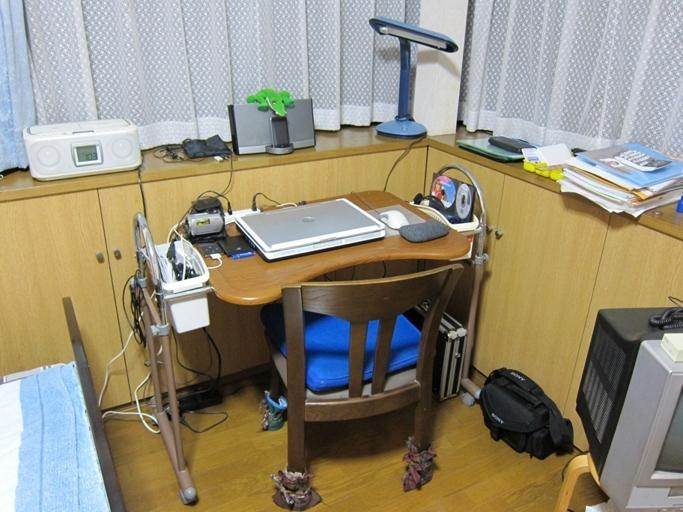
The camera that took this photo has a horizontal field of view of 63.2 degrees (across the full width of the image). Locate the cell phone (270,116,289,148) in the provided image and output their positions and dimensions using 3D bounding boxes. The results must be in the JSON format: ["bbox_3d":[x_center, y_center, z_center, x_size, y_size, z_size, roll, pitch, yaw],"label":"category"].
[{"bbox_3d":[-0.277,-0.545,2.410,0.098,0.185,0.018,-11,24,-22],"label":"cell phone"}]

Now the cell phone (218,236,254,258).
[{"bbox_3d":[-0.392,-0.033,2.037,0.078,0.012,0.109,-16,38,-23],"label":"cell phone"}]

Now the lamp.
[{"bbox_3d":[0.340,-0.838,2.597,0.381,0.541,0.372,1,22,11],"label":"lamp"}]

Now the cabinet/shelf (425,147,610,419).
[{"bbox_3d":[0.731,0.094,2.256,0.265,0.889,0.844,-12,31,-28],"label":"cabinet/shelf"}]
